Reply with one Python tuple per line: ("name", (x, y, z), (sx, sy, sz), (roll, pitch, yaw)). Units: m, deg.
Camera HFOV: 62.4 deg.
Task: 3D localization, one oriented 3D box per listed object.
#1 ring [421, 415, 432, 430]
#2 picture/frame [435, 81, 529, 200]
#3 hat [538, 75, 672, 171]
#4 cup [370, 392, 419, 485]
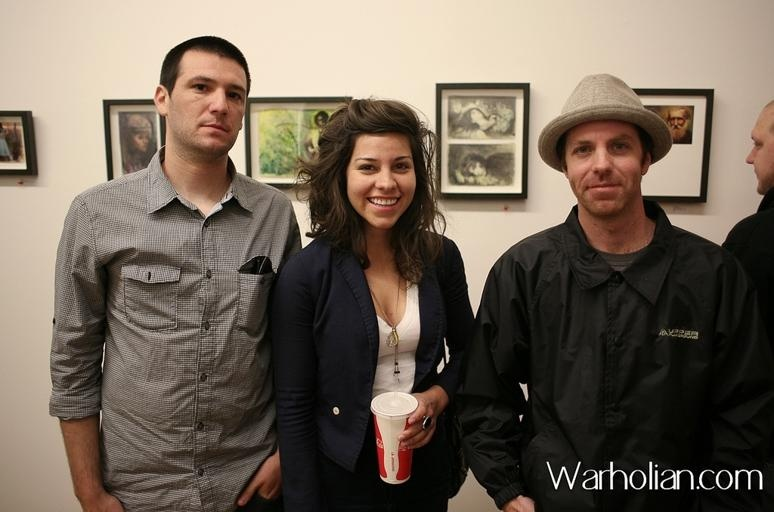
("ring", (0.164, 0.676, 2.585), (0.039, 0.051, 0.012), (36, -9, -36))
("picture/frame", (0.512, -0.631, 3.359), (0.686, 0.815, 0.040), (1, 5, -1))
("hat", (0.893, -0.594, 2.622), (0.450, 0.231, 0.445), (3, -31, 2))
("cup", (0.035, 0.739, 2.563), (0.181, 0.359, 0.100), (-2, 6, -2))
